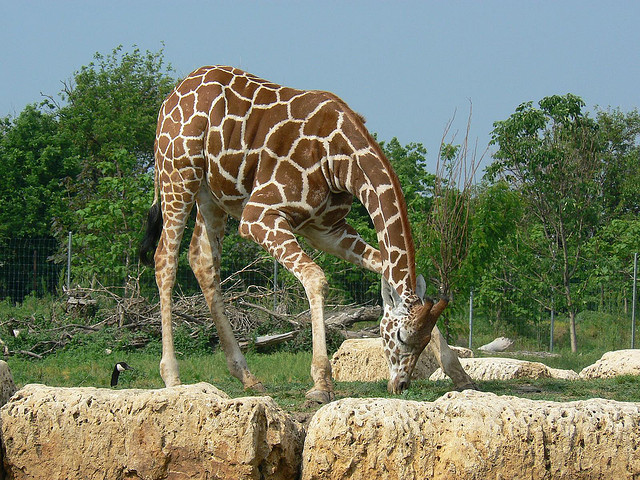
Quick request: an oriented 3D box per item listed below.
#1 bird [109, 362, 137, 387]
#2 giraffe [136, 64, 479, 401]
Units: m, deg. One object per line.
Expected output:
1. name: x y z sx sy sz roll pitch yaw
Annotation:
1. bird: -4.277 2.888 23.381 0.454 0.496 1.203 -2 -6 -12
2. giraffe: -0.473 0.051 22.690 7.386 6.832 2.156 1 1 19
